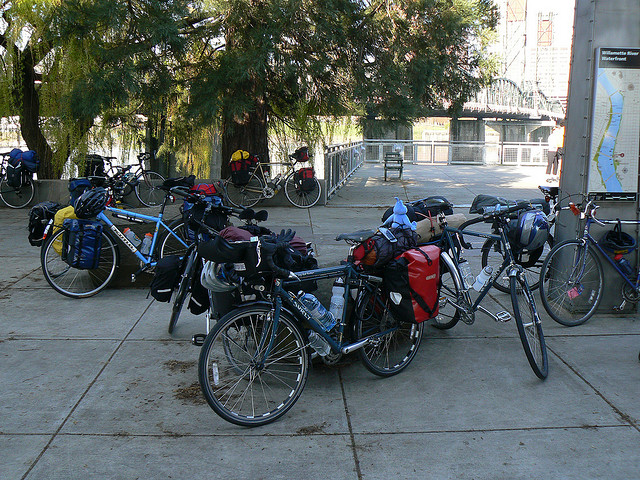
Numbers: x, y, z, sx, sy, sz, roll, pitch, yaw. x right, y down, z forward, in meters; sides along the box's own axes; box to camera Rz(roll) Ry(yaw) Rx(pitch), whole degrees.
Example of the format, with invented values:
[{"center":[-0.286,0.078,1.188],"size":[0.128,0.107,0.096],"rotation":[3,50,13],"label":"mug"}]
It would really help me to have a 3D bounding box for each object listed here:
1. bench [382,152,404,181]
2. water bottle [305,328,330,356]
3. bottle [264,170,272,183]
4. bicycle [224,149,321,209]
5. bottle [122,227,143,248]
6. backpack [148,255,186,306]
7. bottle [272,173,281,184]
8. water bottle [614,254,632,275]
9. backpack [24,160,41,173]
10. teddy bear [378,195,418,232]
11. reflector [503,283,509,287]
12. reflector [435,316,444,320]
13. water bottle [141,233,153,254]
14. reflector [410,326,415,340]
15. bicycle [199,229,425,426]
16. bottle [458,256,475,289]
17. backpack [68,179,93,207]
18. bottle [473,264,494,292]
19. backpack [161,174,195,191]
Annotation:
[{"center":[2.558,-2.622,20.162],"size":[0.627,0.926,0.968],"rotation":[2,14,6],"label":"bench"},{"center":[-0.024,0.809,4.642],"size":[0.076,0.228,0.155],"rotation":[-39,13,20],"label":"water bottle"},{"center":[-1.235,-1.499,13.388],"size":[0.169,0.276,0.076],"rotation":[-21,3,-39],"label":"bottle"},{"center":[-1.094,-1.433,13.374],"size":[2.220,1.378,0.935],"rotation":[0,1,-9],"label":"bicycle"},{"center":[-2.296,-0.055,7.010],"size":[0.214,0.219,0.312],"rotation":[-5,15,-19],"label":"bottle"},{"center":[-1.529,0.394,5.753],"size":[0.341,0.445,0.212],"rotation":[-4,14,-16],"label":"backpack"},{"center":[-1.026,-1.446,13.461],"size":[0.064,0.119,0.247],"rotation":[36,65,19],"label":"bottle"},{"center":[3.269,0.250,6.195],"size":[0.201,0.216,0.042],"rotation":[0,14,2],"label":"water bottle"},{"center":[-6.338,-1.648,12.633],"size":[0.164,0.298,0.437],"rotation":[1,14,3],"label":"backpack"},{"center":[0.729,-0.206,5.294],"size":[0.469,0.447,0.299],"rotation":[0,-2,7],"label":"teddy bear"},{"center":[2.222,0.518,6.846],"size":[0.074,0.018,0.074],"rotation":[13,3,2],"label":"reflector"},{"center":[1.252,0.802,6.030],"size":[0.037,0.014,0.052],"rotation":[3,4,17],"label":"reflector"},{"center":[-2.085,0.028,6.978],"size":[0.124,0.208,0.271],"rotation":[1,14,2],"label":"water bottle"},{"center":[0.820,0.812,5.124],"size":[0.022,0.083,0.089],"rotation":[15,41,2],"label":"reflector"},{"center":[-0.179,0.700,5.190],"size":[2.186,1.329,1.090],"rotation":[-7,5,-31],"label":"bicycle"},{"center":[1.403,0.305,5.524],"size":[0.165,0.240,0.291],"rotation":[3,14,13],"label":"bottle"},{"center":[-2.916,-0.617,7.051],"size":[0.293,0.268,0.233],"rotation":[6,-1,-39],"label":"backpack"},{"center":[1.578,0.338,5.560],"size":[0.163,0.233,0.283],"rotation":[5,15,19],"label":"bottle"},{"center":[-1.575,-0.632,6.268],"size":[0.269,0.106,0.218],"rotation":[4,12,19],"label":"backpack"}]
